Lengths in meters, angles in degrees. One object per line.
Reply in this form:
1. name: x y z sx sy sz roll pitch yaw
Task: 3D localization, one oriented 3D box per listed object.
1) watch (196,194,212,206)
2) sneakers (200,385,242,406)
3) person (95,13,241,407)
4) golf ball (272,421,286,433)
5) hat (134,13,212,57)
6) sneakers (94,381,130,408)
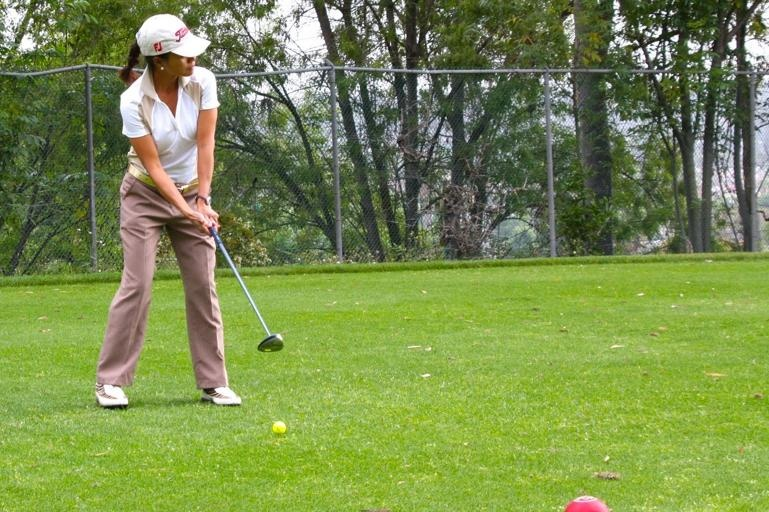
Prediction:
1. watch: -1.358 -0.418 7.720 0.088 0.049 0.076 -10 32 8
2. sneakers: -1.184 1.007 7.530 0.266 0.100 0.132 1 2 33
3. person: -1.646 -0.340 7.454 0.955 2.740 0.760 -4 14 -9
4. golf ball: -0.727 1.163 7.076 0.076 0.074 0.076 14 12 -3
5. hat: -1.524 -1.579 7.456 0.481 0.222 0.299 -5 22 2
6. sneakers: -1.970 0.994 7.399 0.248 0.151 0.175 -2 13 -1
